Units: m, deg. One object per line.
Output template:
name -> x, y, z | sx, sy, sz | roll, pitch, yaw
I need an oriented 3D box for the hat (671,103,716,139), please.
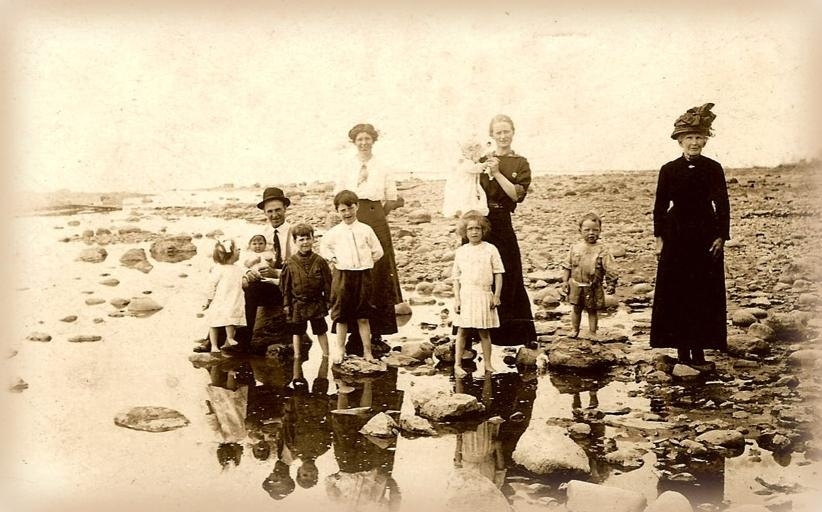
hat -> 2.930, -1.402, 8.275 | 0.478, 0.186, 0.406 | -11, 11, 7

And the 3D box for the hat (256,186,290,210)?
hat -> -1.578, -0.671, 9.089 | 0.319, 0.104, 0.308 | -8, -11, -3
